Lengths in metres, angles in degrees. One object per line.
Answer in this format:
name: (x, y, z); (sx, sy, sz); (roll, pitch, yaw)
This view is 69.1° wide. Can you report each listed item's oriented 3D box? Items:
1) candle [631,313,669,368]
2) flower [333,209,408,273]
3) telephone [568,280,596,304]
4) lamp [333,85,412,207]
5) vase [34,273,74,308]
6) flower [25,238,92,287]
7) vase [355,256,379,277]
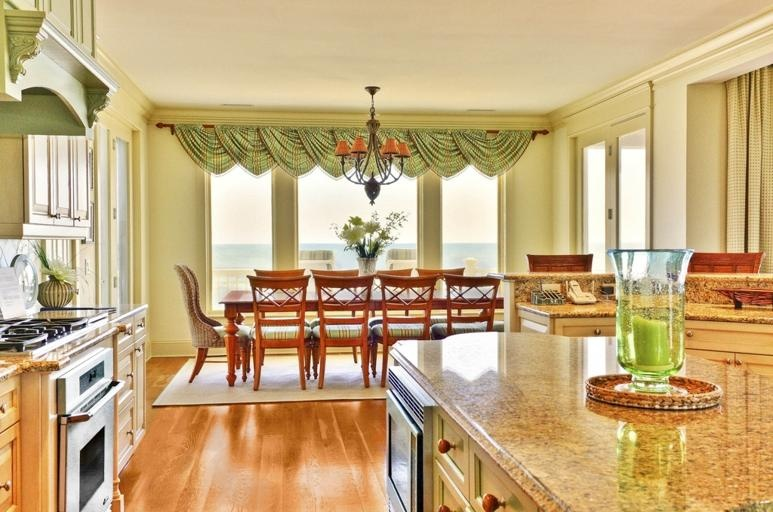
candle: (0.963, 0.304, 2.046); (0.131, 0.203, 0.135); (-9, -19, 41)
flower: (-0.207, -0.032, 6.076); (0.478, 0.589, 0.625); (-5, 0, -25)
telephone: (1.480, 0.288, 4.301); (0.134, 0.085, 0.232); (-1, 8, -2)
lamp: (-0.139, -1.128, 5.824); (0.795, 1.162, 0.786); (2, 8, 10)
vase: (-2.260, 0.243, 3.820); (0.247, 0.235, 0.241); (3, 2, -13)
flower: (-2.221, 0.097, 3.859); (0.159, 0.285, 0.311); (-22, 14, -40)
vase: (-0.218, 0.116, 5.973); (0.195, 0.151, 0.195); (-1, -2, 11)
